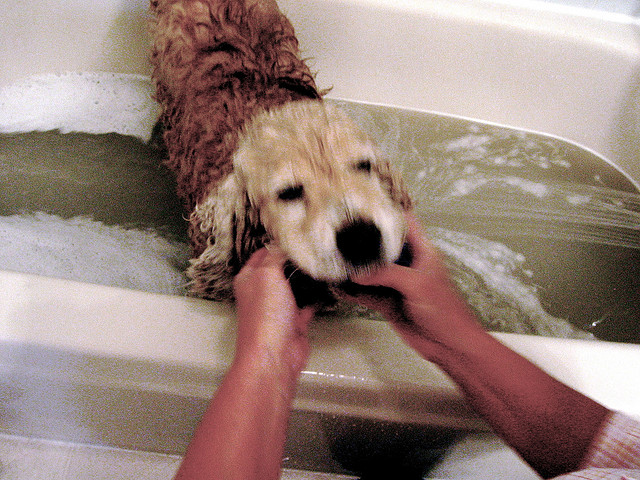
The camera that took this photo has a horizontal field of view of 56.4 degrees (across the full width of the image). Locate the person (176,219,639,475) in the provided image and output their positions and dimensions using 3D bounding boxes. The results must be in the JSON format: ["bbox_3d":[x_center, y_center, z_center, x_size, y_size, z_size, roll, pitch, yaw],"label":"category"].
[{"bbox_3d":[0.256,0.386,1.647,1.179,0.364,0.635,8,54,4],"label":"person"}]
